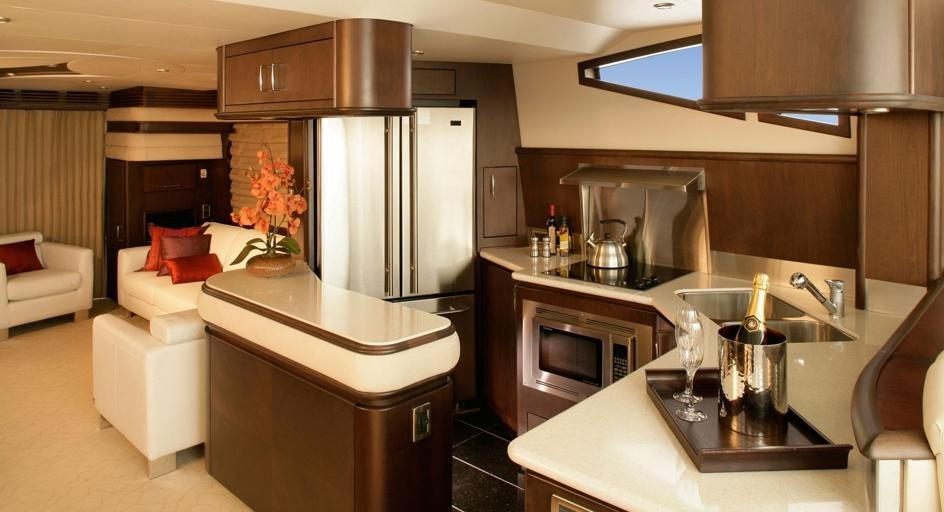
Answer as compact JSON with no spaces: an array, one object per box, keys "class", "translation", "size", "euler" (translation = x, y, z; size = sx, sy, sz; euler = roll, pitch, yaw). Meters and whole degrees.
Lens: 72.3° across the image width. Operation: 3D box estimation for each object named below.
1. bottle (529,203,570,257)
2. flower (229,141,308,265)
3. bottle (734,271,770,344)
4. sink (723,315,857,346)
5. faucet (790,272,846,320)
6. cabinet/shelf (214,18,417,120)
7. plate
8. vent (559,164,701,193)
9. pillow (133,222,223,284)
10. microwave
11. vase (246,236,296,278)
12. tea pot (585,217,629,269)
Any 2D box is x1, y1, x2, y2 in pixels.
[{"class":"bottle","translation":[0.690,-0.218,5.736],"size":[0.282,0.435,0.396],"euler":[5,14,27]},{"class":"flower","translation":[-1.578,-0.300,5.155],"size":[0.572,0.860,0.626],"euler":[-4,-6,20]},{"class":"bottle","translation":[1.393,0.235,3.203],"size":[0.123,0.324,0.368],"euler":[4,14,24]},{"class":"sink","translation":[1.884,0.435,3.761],"size":[0.359,0.186,0.331],"euler":[0,4,-9]},{"class":"faucet","translation":[2.340,0.271,4.320],"size":[0.096,0.216,0.370],"euler":[2,6,-30]},{"class":"cabinet/shelf","translation":[-1.345,-1.398,5.195],"size":[2.144,0.615,0.692],"euler":[10,13,44]},{"class":"plate","translation":[1.307,0.817,3.038],"size":[0.491,0.077,0.628],"euler":[-1,10,-5]},{"class":"vent","translation":[1.274,-0.622,5.232],"size":[1.085,0.200,0.363],"euler":[9,16,38]},{"class":"pillow","translation":[-3.354,-0.032,7.388],"size":[0.686,0.501,0.987],"euler":[-11,16,-36]},{"class":"microwave","translation":[0.679,0.827,5.341],"size":[1.239,0.737,0.674],"euler":[16,-17,-27]},{"class":"vase","translation":[-1.604,-0.045,5.060],"size":[0.487,0.314,0.407],"euler":[0,17,-9]},{"class":"tea pot","translation":[1.125,-0.118,5.431],"size":[0.445,0.385,0.309],"euler":[-4,12,-24]}]
